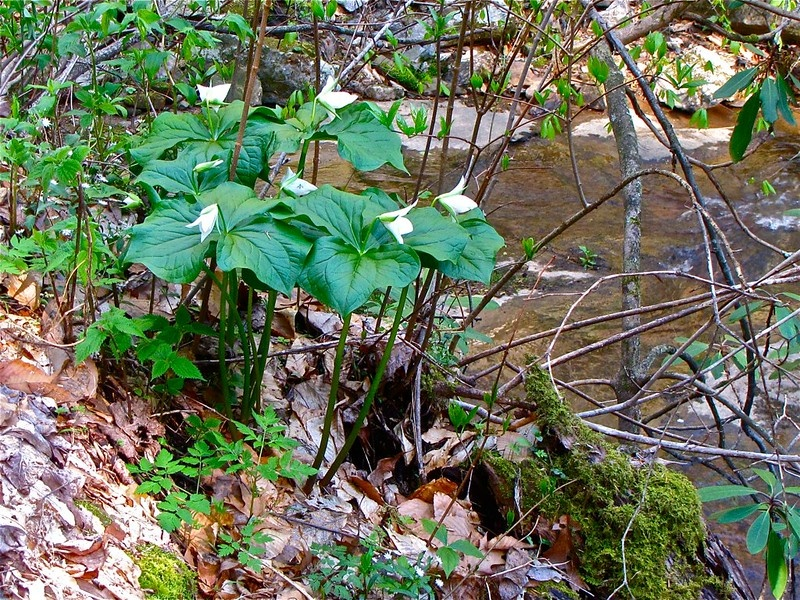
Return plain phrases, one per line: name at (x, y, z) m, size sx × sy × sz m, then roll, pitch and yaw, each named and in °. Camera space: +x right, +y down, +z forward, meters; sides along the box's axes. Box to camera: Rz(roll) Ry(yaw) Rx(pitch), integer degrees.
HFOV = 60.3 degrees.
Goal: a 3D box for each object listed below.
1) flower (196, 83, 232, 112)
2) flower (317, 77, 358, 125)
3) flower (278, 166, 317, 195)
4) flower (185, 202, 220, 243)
flower at (-0.763, -0.854, 2.839) m, size 0.124 × 0.084 × 0.143 m, roll -8°, pitch 5°, yaw -3°
flower at (-0.257, -0.776, 2.734) m, size 0.157 × 0.165 × 0.056 m, roll 30°, pitch 18°, yaw 30°
flower at (-0.408, -0.460, 2.701) m, size 0.126 × 0.119 × 0.042 m, roll 35°, pitch -16°, yaw -31°
flower at (-0.691, -0.284, 2.402) m, size 0.054 × 0.154 × 0.115 m, roll 23°, pitch 41°, yaw 7°
